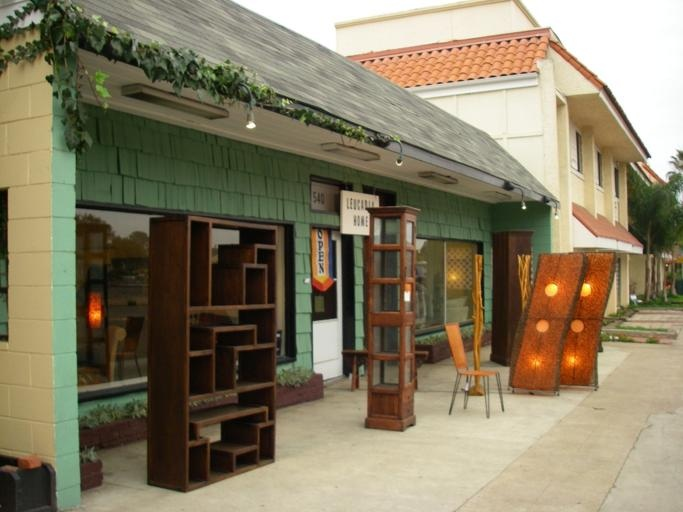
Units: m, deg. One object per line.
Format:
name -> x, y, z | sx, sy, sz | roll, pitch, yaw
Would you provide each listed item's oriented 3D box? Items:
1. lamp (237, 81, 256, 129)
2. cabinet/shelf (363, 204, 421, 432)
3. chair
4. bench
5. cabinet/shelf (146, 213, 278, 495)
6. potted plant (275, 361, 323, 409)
lamp -> -0.980, -1.556, 6.063 | 0.159, 0.409, 0.526 | -1, -4, -7
cabinet/shelf -> 0.674, 0.772, 7.616 | 0.758, 2.834, 0.802 | 0, 0, 42
chair -> 1.912, 1.598, 8.338 | 0.720, 1.133, 0.678 | -2, -3, 42
bench -> 0.712, 1.914, 9.544 | 1.356, 0.778, 0.438 | 0, 2, 7
cabinet/shelf -> -1.281, 0.908, 5.842 | 0.573, 2.545, 1.238 | -4, -4, 38
potted plant -> -0.668, 1.963, 8.681 | 0.313, 0.473, 1.055 | -4, -4, 27
